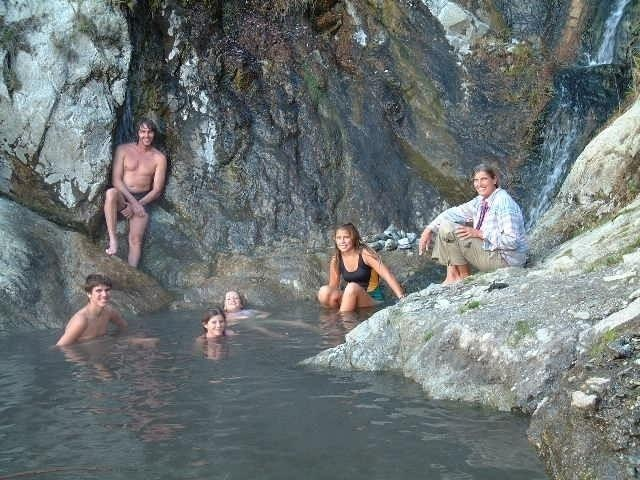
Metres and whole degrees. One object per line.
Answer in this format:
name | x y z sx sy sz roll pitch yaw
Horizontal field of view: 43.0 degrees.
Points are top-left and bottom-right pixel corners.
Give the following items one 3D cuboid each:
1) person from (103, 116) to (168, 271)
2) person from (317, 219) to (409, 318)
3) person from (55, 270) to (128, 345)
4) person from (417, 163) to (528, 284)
person | -3.130 -0.780 13.623 0.642 2.361 1.527 4 15 17
person | 0.522 0.439 11.989 1.266 1.380 0.746 13 19 43
person | -2.962 0.918 10.668 0.380 0.954 1.298 12 17 31
person | 2.041 -0.193 10.630 1.260 1.561 0.737 8 17 31
